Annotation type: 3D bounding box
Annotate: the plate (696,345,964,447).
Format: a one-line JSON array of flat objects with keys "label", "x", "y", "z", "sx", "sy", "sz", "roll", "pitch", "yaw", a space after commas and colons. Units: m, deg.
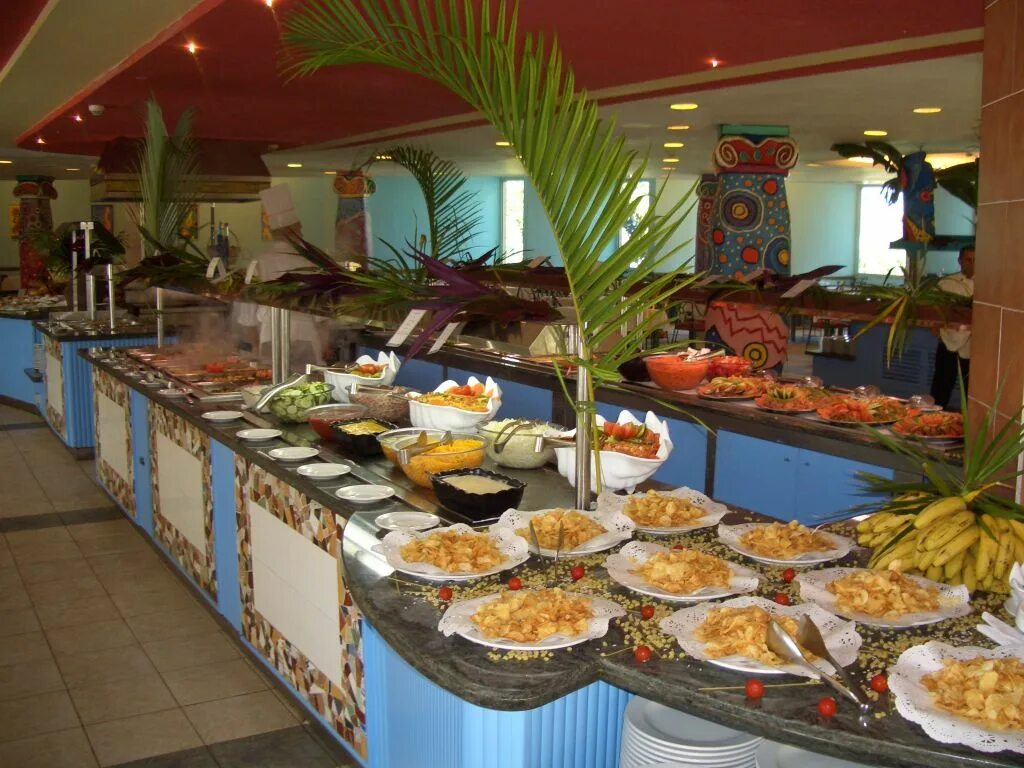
[{"label": "plate", "x": 1.559, "y": 0.098, "z": 3.673, "sx": 0.494, "sy": 0.143, "sz": 1.273, "roll": -7, "pitch": 12, "yaw": -34}]
